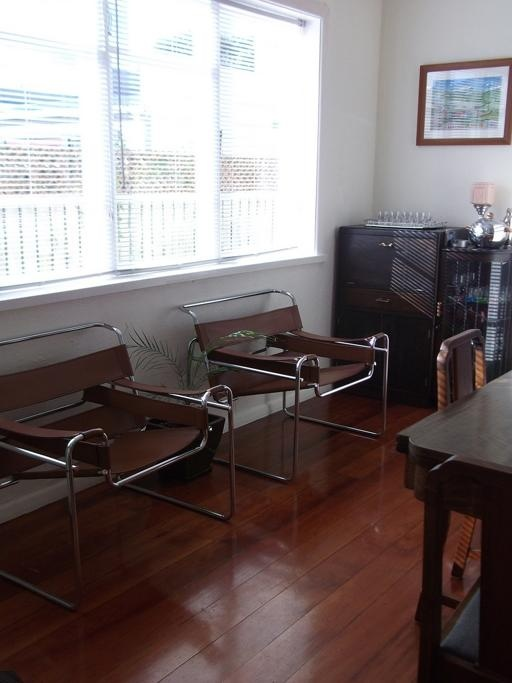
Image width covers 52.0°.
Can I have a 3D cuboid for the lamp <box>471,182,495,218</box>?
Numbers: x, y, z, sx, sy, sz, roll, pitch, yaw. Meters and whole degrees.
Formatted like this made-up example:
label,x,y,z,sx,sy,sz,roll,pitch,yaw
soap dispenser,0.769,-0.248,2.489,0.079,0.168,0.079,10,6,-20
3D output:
label,x,y,z,sx,sy,sz,roll,pitch,yaw
lamp,1.583,-0.993,3.668,0.137,0.268,0.259,5,10,29
